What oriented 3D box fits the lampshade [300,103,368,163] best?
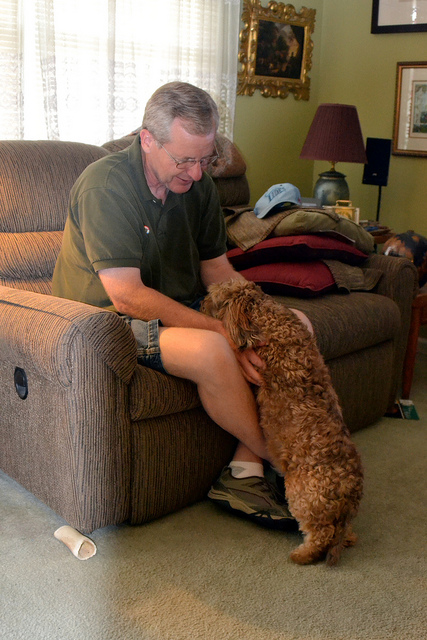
[{"bbox_3d":[0.746,-1.154,3.280,0.466,0.312,0.421,1,24,-3],"label":"lampshade"}]

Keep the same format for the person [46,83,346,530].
[{"bbox_3d":[-0.038,-0.060,1.451,0.791,1.025,0.488,15,21,42],"label":"person"}]

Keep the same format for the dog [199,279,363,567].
[{"bbox_3d":[0.144,0.262,1.263,0.191,0.627,0.364,-10,-10,-34],"label":"dog"}]
